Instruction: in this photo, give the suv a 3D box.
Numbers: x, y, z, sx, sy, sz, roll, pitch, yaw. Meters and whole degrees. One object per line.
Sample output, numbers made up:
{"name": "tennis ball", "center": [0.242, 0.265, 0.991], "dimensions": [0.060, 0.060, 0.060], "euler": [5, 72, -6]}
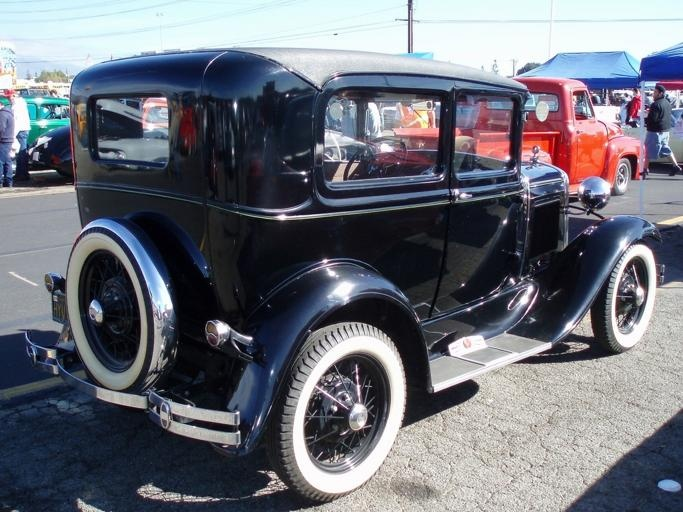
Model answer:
{"name": "suv", "center": [0.471, -0.138, 3.822], "dimensions": [2.226, 2.178, 4.229], "euler": [12, 21, 44]}
